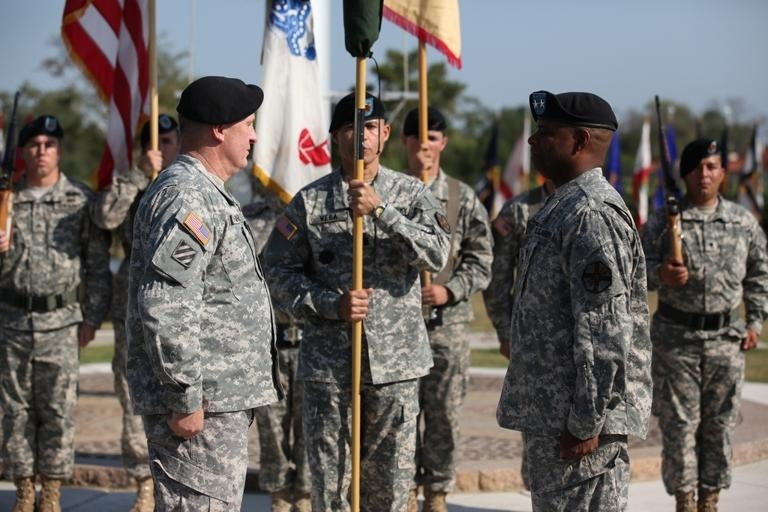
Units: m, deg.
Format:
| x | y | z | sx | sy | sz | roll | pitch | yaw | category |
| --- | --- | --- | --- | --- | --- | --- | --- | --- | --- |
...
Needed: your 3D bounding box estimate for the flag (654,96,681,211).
| x | y | z | sx | sy | sz | roll | pitch | yaw | category |
| --- | --- | --- | --- | --- | --- | --- | --- | --- | --- |
| 2.738 | -0.985 | 14.956 | 0.235 | 1.120 | 0.983 | 0 | -7 | 11 | flag |
